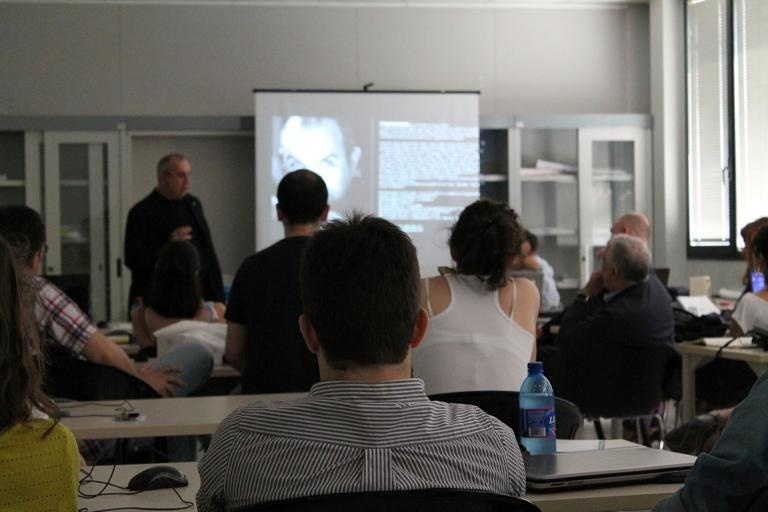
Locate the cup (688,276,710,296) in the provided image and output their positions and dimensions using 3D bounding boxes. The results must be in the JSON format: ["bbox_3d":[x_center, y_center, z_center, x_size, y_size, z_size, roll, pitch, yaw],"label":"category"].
[{"bbox_3d":[2.433,0.231,5.899,0.180,0.196,0.139,0,-1,-11],"label":"cup"}]

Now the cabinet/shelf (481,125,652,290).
[{"bbox_3d":[1.422,-0.407,6.163,1.368,1.522,0.457,0,-2,-10],"label":"cabinet/shelf"}]

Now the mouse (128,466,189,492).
[{"bbox_3d":[-0.837,0.827,2.816,0.161,0.058,0.098,-2,-1,-12],"label":"mouse"}]

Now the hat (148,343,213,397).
[{"bbox_3d":[-0.997,0.558,3.775,0.335,0.198,0.123,-10,-11,-35],"label":"hat"}]

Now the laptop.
[{"bbox_3d":[0.810,0.761,2.769,0.633,0.096,0.186,-2,6,-5],"label":"laptop"}]
